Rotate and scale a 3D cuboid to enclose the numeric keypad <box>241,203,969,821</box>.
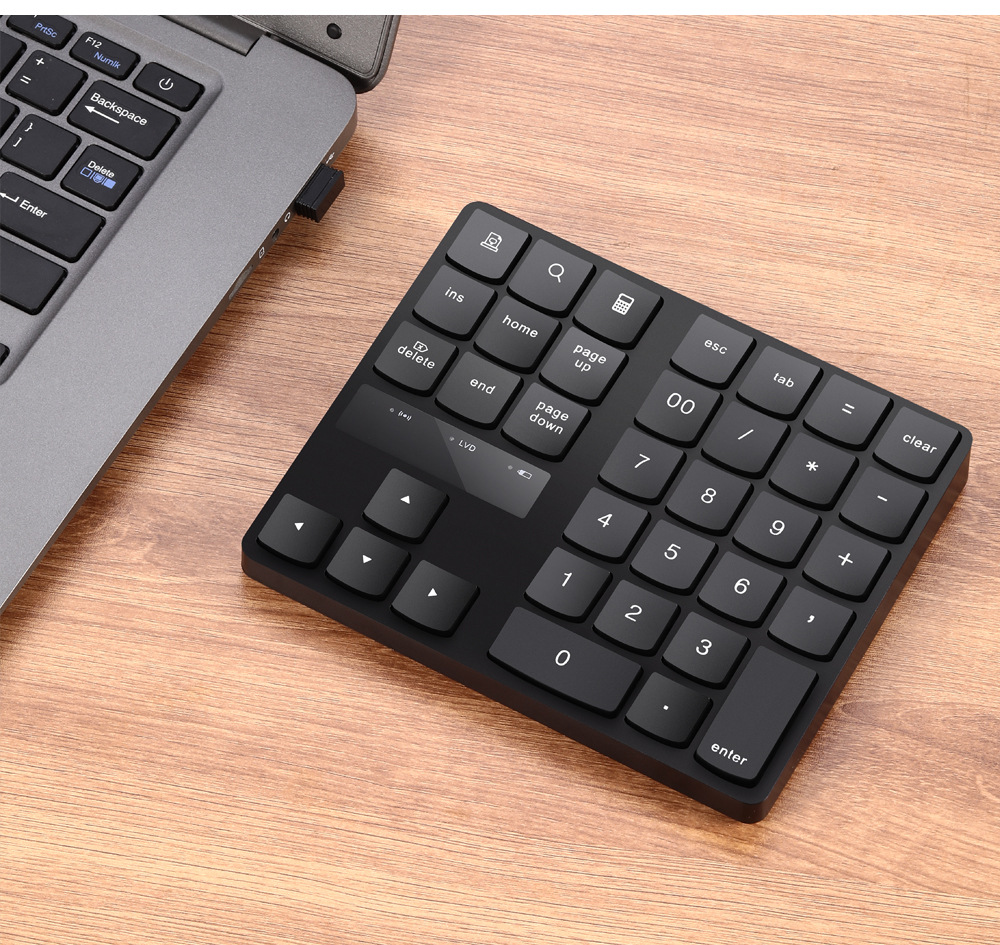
[{"bbox_3d":[0.023,0.004,0.393,0.285,0.045,0.198,35,72,-18],"label":"numeric keypad"}]
